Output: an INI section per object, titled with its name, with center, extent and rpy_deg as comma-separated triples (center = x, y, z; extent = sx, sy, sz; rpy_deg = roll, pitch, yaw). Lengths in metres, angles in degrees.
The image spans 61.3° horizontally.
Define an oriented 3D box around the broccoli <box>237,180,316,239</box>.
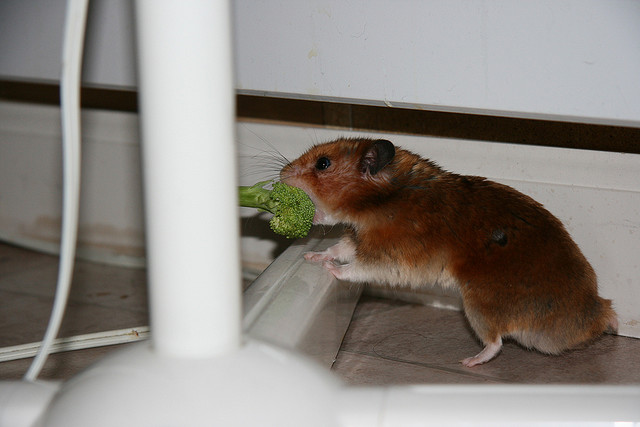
[broccoli]
center = -0.139, -0.028, 1.809
extent = 0.247, 0.164, 0.129
rpy_deg = 10, 33, 11
